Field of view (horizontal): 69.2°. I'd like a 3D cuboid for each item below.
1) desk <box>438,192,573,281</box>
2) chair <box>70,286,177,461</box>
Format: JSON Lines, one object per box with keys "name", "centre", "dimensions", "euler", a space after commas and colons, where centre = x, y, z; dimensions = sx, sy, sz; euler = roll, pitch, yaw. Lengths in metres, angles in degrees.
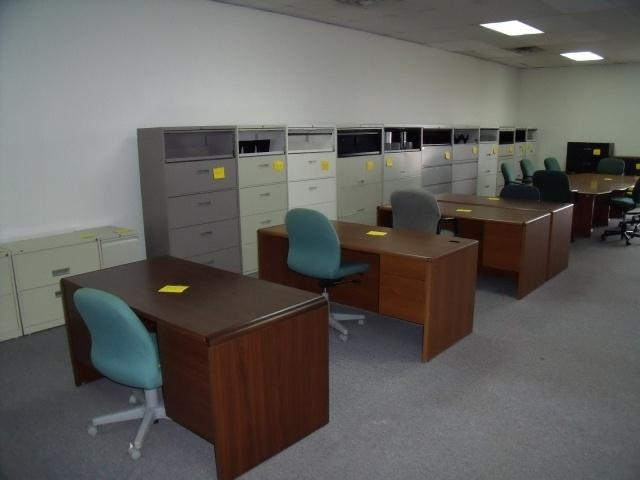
{"name": "desk", "centre": [2.084, 0.022, 6.082], "dimensions": [0.896, 0.831, 1.673], "euler": [-10, 15, -33]}
{"name": "chair", "centre": [-1.321, 0.848, 3.167], "dimensions": [0.476, 1.186, 0.640], "euler": [-13, 17, -41]}
